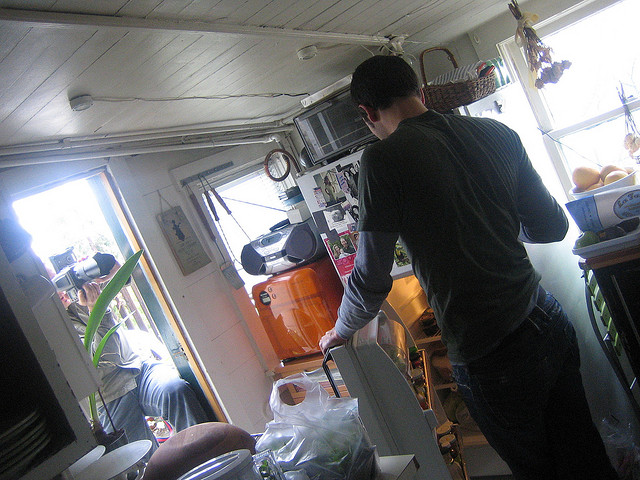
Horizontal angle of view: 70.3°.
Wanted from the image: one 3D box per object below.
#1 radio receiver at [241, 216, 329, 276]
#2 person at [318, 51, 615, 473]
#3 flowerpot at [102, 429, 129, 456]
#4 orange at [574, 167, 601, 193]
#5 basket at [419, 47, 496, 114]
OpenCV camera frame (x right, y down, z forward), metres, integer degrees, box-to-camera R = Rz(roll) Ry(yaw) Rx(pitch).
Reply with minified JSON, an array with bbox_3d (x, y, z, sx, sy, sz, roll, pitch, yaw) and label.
[{"bbox_3d":[-0.238,0.045,3.832,0.664,0.359,0.630,-17,1,26],"label":"radio receiver"},{"bbox_3d":[0.482,0.077,1.639,0.925,1.560,0.488,-19,8,7],"label":"person"},{"bbox_3d":[-0.990,0.985,2.216,0.077,0.092,0.082,-2,9,17],"label":"flowerpot"},{"bbox_3d":[1.532,-0.367,2.667,0.132,0.141,0.169,8,11,11],"label":"orange"},{"bbox_3d":[0.853,-0.925,2.779,0.417,0.191,0.239,-17,9,23],"label":"basket"}]
